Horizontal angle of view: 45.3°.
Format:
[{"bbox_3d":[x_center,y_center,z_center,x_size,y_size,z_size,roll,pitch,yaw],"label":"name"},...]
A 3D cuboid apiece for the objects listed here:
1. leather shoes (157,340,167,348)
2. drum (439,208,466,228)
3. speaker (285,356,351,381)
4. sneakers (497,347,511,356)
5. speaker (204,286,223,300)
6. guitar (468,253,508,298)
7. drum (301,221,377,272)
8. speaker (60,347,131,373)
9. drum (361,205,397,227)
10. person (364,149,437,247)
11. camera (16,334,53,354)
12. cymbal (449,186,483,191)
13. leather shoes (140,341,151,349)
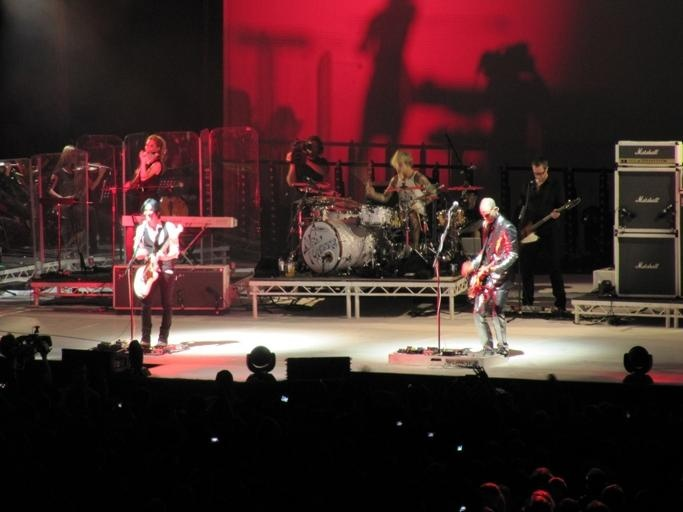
[{"bbox_3d":[-2.048,1.009,9.349,0.108,0.071,0.153,-1,2,-15],"label":"leather shoes"},{"bbox_3d":[1.719,-0.585,12.914,0.343,0.207,0.342,0,3,0],"label":"drum"},{"bbox_3d":[-0.216,1.052,7.596,0.584,0.214,0.123,0,2,-4],"label":"speaker"},{"bbox_3d":[1.711,1.021,8.687,0.123,0.060,0.158,2,0,13],"label":"sneakers"},{"bbox_3d":[-1.866,0.552,11.956,0.197,0.176,0.059,-15,0,8],"label":"speaker"},{"bbox_3d":[1.487,0.263,8.753,0.259,0.343,0.138,11,4,-1],"label":"guitar"},{"bbox_3d":[-0.044,-0.126,12.283,1.107,0.804,0.742,-1,2,-5],"label":"drum"},{"bbox_3d":[-2.414,1.028,8.066,0.356,0.146,0.353,2,-1,9],"label":"speaker"},{"bbox_3d":[0.569,-0.586,12.351,0.394,0.159,0.381,6,5,-1],"label":"drum"},{"bbox_3d":[1.003,-0.888,13.077,0.700,1.556,1.111,-2,2,-41],"label":"person"},{"bbox_3d":[-3.066,0.873,8.180,0.250,0.109,0.246,5,4,-4],"label":"camera"},{"bbox_3d":[2.025,-1.097,13.428,0.287,0.064,0.276,-6,12,-27],"label":"cymbal"},{"bbox_3d":[-2.218,1.020,9.295,0.103,0.084,0.182,-1,2,-14],"label":"leather shoes"}]
